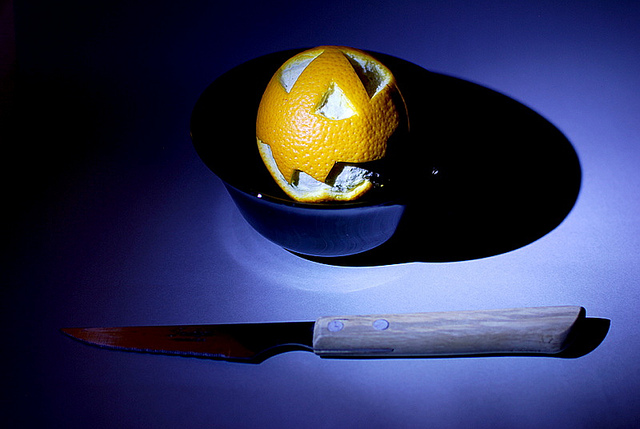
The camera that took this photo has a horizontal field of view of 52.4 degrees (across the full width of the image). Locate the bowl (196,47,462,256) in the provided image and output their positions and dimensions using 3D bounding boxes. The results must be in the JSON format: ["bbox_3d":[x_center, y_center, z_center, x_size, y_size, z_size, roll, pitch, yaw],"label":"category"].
[{"bbox_3d":[-0.032,-0.093,1.364,0.450,0.506,0.198,2,-38,-1],"label":"bowl"}]

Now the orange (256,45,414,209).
[{"bbox_3d":[0.032,-0.199,1.378,0.307,0.318,0.346,-8,-57,-20],"label":"orange"}]
